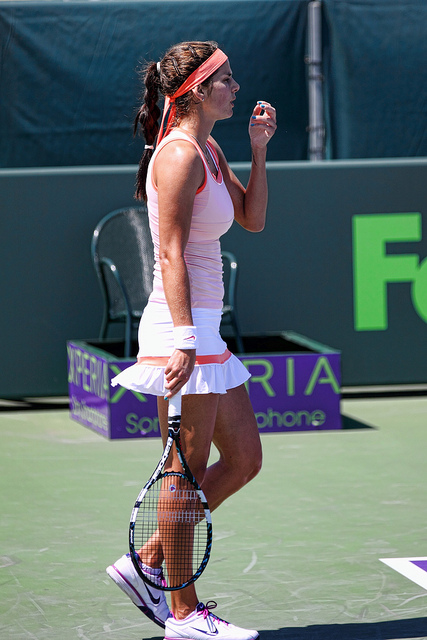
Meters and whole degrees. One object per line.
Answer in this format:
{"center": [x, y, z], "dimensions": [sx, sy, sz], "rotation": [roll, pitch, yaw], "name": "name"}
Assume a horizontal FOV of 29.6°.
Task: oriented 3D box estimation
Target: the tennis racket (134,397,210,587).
{"center": [-0.106, 0.401, 2.090], "dimensions": [0.209, 0.595, 0.039], "rotation": [2, -43, -2], "name": "tennis racket"}

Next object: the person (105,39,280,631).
{"center": [-0.056, 0.092, 2.201], "dimensions": [0.454, 1.668, 0.833], "rotation": [-1, 3, 4], "name": "person"}

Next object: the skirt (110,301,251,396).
{"center": [-0.095, 0.062, 2.092], "dimensions": [0.380, 0.230, 0.372], "rotation": [-2, 2, -5], "name": "skirt"}
